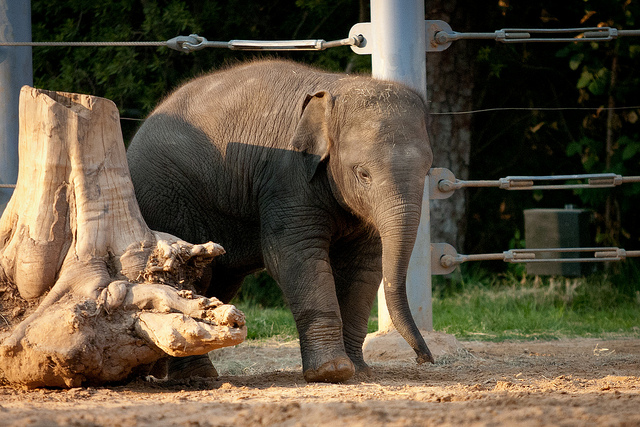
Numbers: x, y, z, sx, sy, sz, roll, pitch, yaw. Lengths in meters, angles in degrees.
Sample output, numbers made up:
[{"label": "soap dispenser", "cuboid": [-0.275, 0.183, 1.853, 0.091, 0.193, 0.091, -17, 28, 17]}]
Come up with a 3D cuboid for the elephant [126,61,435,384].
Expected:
[{"label": "elephant", "cuboid": [-0.313, 0.009, 13.621, 2.930, 2.758, 1.396, 6, 6, 27]}]
